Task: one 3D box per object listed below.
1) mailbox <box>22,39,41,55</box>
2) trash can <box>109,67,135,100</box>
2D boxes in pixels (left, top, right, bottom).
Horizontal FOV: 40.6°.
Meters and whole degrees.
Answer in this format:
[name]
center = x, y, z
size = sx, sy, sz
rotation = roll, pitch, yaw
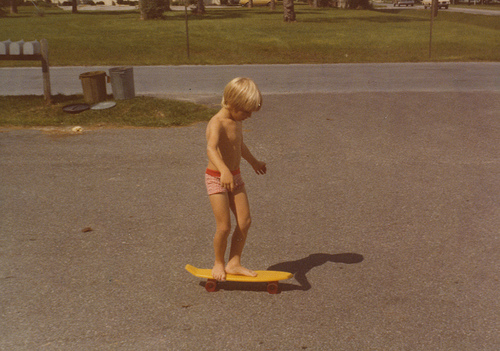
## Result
[mailbox]
center = -5.403, -3.136, 16.739
size = 0.379, 0.223, 0.363
rotation = -5, 16, -26
[trash can]
center = -3.309, -2.287, 17.195
size = 0.825, 0.875, 0.857
rotation = -7, 10, -5
